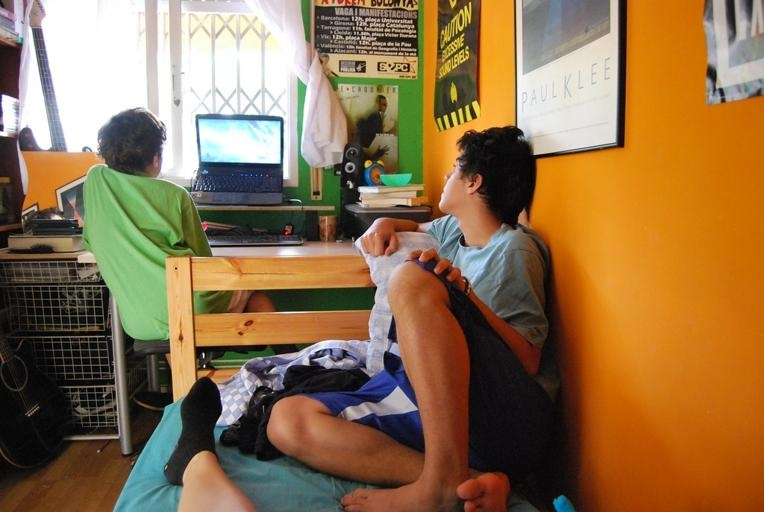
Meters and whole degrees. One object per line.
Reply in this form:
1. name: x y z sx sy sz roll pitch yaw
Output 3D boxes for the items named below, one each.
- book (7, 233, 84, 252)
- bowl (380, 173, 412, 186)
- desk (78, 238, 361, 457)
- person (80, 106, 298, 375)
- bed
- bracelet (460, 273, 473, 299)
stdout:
1. book: -1.508 -0.055 2.654 0.314 0.088 0.068 -3 9 -6
2. bowl: 0.082 -0.382 2.866 0.073 0.047 0.125 9 19 39
3. desk: -0.494 0.292 2.375 0.758 0.453 0.543 -2 8 -5
4. person: -0.960 0.012 2.814 0.548 1.323 0.708 -3 25 11
5. bed: -0.184 0.346 1.955 1.020 0.681 0.735 1 8 -6
6. bracelet: 0.255 0.093 1.793 0.017 0.050 0.050 -12 7 5
